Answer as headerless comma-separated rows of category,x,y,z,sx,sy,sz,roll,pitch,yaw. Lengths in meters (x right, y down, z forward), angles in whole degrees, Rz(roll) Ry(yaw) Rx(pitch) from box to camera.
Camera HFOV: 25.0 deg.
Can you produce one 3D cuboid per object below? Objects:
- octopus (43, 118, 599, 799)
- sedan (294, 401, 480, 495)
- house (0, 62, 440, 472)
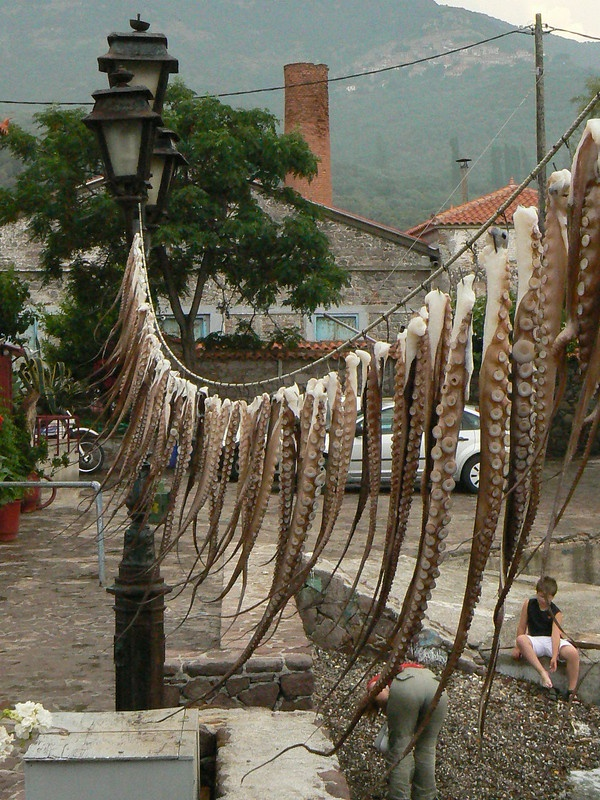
octopus,-0.005,0.095,4.643,0.867,2.276,2.367,4,10,-25
sedan,1.025,0.487,13.562,1.636,0.754,0.868,1,-4,-4
house,-0.978,-1.867,20.283,6.667,3.592,5.095,0,1,-7
